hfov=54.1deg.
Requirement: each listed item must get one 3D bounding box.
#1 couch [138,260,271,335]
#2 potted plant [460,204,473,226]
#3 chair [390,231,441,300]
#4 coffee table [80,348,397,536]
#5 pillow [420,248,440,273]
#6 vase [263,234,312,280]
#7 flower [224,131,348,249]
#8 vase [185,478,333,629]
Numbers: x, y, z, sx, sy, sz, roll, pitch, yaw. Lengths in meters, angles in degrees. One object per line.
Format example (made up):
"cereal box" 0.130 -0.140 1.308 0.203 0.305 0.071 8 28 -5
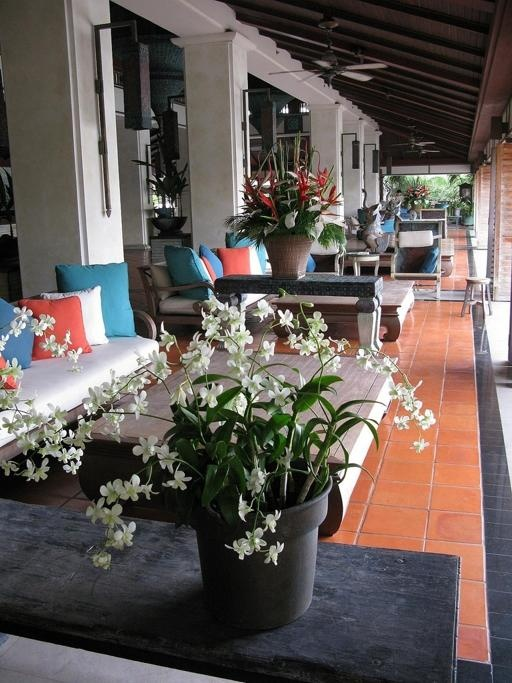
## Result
"couch" -0.729 -0.452 5.567 1.062 0.640 1.059 4 17 11
"potted plant" 10.580 -6.413 25.236 0.480 1.267 1.545 2 5 18
"chair" 2.510 -1.243 7.864 0.710 1.193 0.679 -1 4 18
"coffee table" -0.006 0.496 2.754 1.903 0.421 1.387 -9 9 43
"pillow" 2.744 -1.299 7.904 0.233 0.413 0.117 7 -14 44
"vase" 0.257 -0.670 4.019 0.371 0.291 0.318 0 5 3
"flower" 0.214 -1.145 3.882 0.856 0.725 0.777 4 13 12
"vase" 0.003 0.318 0.791 0.205 0.175 0.222 1 1 27
